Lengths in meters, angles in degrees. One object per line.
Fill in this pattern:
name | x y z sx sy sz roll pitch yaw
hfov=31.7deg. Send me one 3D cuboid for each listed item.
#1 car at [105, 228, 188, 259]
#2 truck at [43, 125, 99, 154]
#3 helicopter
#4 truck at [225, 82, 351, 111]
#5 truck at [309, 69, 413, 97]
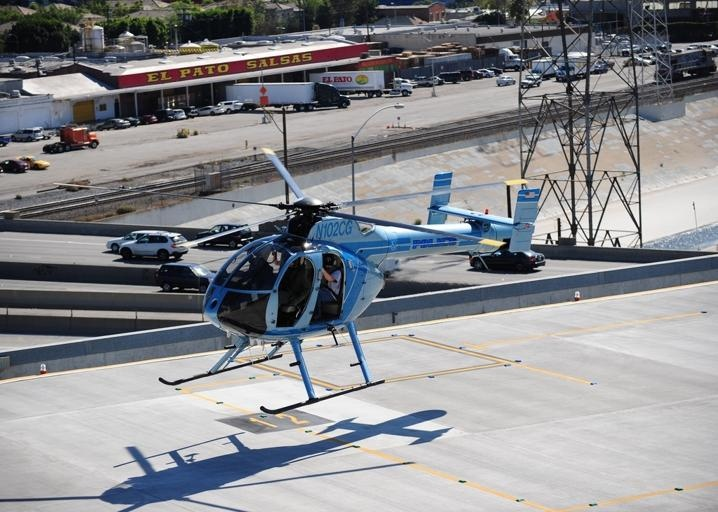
car | -12.972 -0.344 74.123 7.538 1.699 2.808 3 6 12
truck | -24.619 -9.952 108.856 4.691 1.327 2.565 -10 19 -25
helicopter | -0.578 0.881 48.628 17.328 5.217 15.560 -14 20 -43
truck | -6.991 -16.366 129.763 11.887 2.961 4.017 -2 10 6
truck | 4.095 -19.181 139.443 17.477 2.927 3.080 0 18 5
